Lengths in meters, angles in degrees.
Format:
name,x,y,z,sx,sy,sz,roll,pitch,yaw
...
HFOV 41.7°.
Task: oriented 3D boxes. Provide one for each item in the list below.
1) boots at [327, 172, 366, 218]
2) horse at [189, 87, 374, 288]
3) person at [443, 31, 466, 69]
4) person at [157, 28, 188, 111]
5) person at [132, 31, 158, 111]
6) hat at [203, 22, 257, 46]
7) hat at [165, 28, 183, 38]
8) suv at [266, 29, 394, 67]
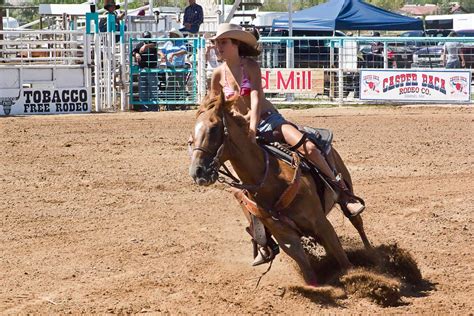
name,x,y,z,sx,sy,sz,roll,pitch,yaw
boots,1.611,0.487,9.661,0.300,0.402,0.923,-32,39,-5
horse,0.417,0.456,8.906,2.241,2.803,0.649,-5,7,-16
person,7.470,-3.584,21.508,0.762,0.906,0.651,1,8,31
person,-2.065,-2.925,20.468,0.858,2.633,1.185,-6,8,-26
person,-2.972,-2.769,20.520,0.792,2.393,0.845,-4,7,-9
hat,-0.098,-1.911,9.341,0.605,0.243,0.659,-2,11,43
hat,-2.012,-4.142,20.535,0.464,0.316,0.668,-3,7,-5
suv,3.450,-4.237,22.869,4.541,2.033,2.126,-4,11,-6
